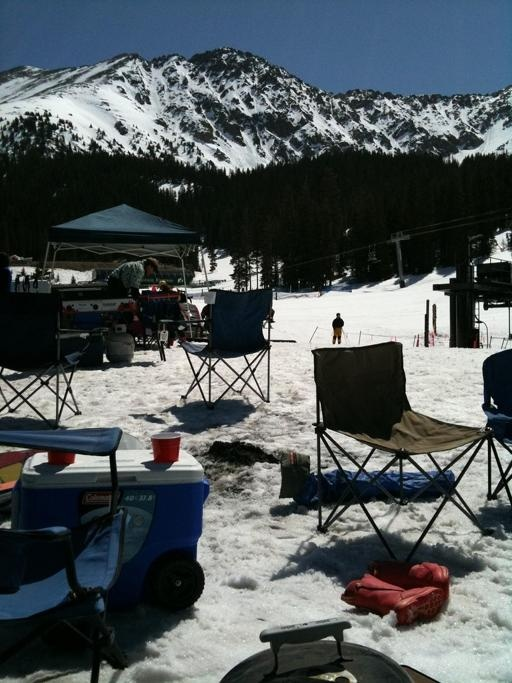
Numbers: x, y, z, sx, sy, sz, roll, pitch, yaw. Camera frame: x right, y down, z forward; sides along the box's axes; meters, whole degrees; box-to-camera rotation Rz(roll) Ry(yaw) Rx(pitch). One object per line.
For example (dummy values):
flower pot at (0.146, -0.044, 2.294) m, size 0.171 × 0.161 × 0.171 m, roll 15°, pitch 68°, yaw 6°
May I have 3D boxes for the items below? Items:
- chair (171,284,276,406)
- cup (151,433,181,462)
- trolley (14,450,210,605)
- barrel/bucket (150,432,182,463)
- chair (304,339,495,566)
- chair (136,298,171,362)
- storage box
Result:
chair at (-0.215, 0.035, 5.753) m, size 0.577 × 0.968 × 0.642 m, roll -2°, pitch 7°, yaw -22°
cup at (-0.333, 0.399, 2.593) m, size 0.099 × 0.083 × 0.103 m, roll -1°, pitch -3°, yaw 0°
trolley at (-0.523, 0.834, 2.559) m, size 0.761 × 0.584 × 0.605 m, roll -3°, pitch -38°, yaw 0°
barrel/bucket at (-0.335, 0.399, 2.592) m, size 0.101 × 0.084 × 0.105 m, roll -1°, pitch -4°, yaw 0°
chair at (0.704, 0.491, 3.327) m, size 0.715 × 0.939 × 0.681 m, roll 3°, pitch 7°, yaw 44°
chair at (-1.344, -0.133, 8.853) m, size 0.451 × 0.819 × 0.517 m, roll 3°, pitch -11°, yaw -27°
storage box at (-0.519, 0.661, 2.676) m, size 0.704 × 0.561 × 0.490 m, roll 0°, pitch 16°, yaw -8°
